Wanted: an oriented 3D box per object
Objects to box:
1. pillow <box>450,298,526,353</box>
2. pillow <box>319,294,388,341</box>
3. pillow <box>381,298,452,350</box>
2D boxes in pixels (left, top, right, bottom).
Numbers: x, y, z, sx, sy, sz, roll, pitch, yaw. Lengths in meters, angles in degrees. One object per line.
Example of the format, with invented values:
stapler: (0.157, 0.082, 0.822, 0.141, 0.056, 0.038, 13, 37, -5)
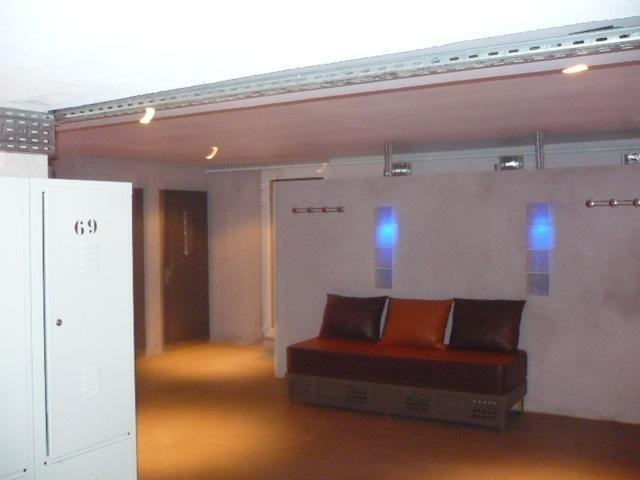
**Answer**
pillow: (1.530, 0.769, 4.992, 0.579, 0.496, 0.184, 3, -22, 38)
pillow: (0.327, 0.819, 5.582, 0.654, 0.548, 0.153, -3, -19, 4)
pillow: (0.947, 0.789, 5.205, 0.615, 0.460, 0.206, -2, -27, 38)
